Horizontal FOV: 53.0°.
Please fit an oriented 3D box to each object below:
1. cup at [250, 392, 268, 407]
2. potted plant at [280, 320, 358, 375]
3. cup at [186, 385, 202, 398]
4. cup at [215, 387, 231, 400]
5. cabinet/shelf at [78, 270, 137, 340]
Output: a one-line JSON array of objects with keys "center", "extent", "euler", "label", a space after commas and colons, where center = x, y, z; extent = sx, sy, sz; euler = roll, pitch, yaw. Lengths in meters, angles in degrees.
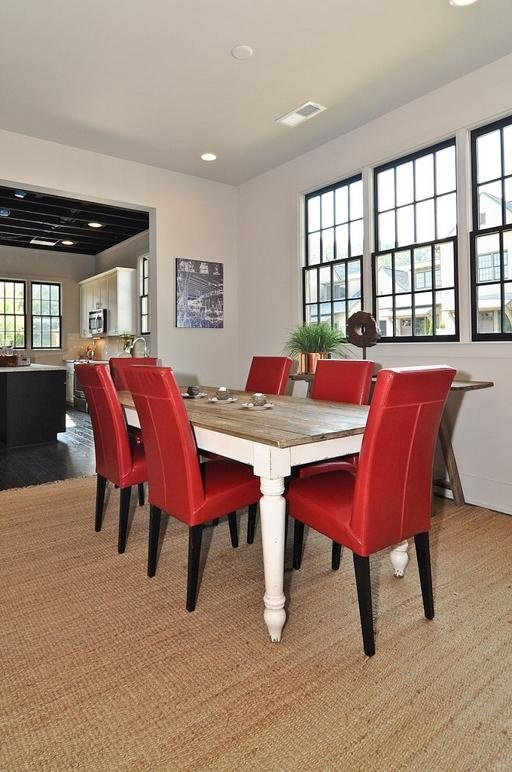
[{"center": [0.008, 0.061, 2.303], "extent": [0.055, 0.044, 0.053], "euler": [2, 0, 0], "label": "cup"}, {"center": [0.480, -0.302, 4.003], "extent": [0.418, 0.319, 0.446], "euler": [0, 0, 8], "label": "potted plant"}, {"center": [-0.345, 0.023, 2.805], "extent": [0.064, 0.060, 0.081], "euler": [-1, -5, 4], "label": "cup"}, {"center": [-0.171, 0.036, 2.612], "extent": [0.064, 0.074, 0.067], "euler": [1, 7, 0], "label": "cup"}, {"center": [-2.271, -1.245, 7.840], "extent": [0.358, 0.949, 1.499], "euler": [-3, 5, -37], "label": "cabinet/shelf"}]
